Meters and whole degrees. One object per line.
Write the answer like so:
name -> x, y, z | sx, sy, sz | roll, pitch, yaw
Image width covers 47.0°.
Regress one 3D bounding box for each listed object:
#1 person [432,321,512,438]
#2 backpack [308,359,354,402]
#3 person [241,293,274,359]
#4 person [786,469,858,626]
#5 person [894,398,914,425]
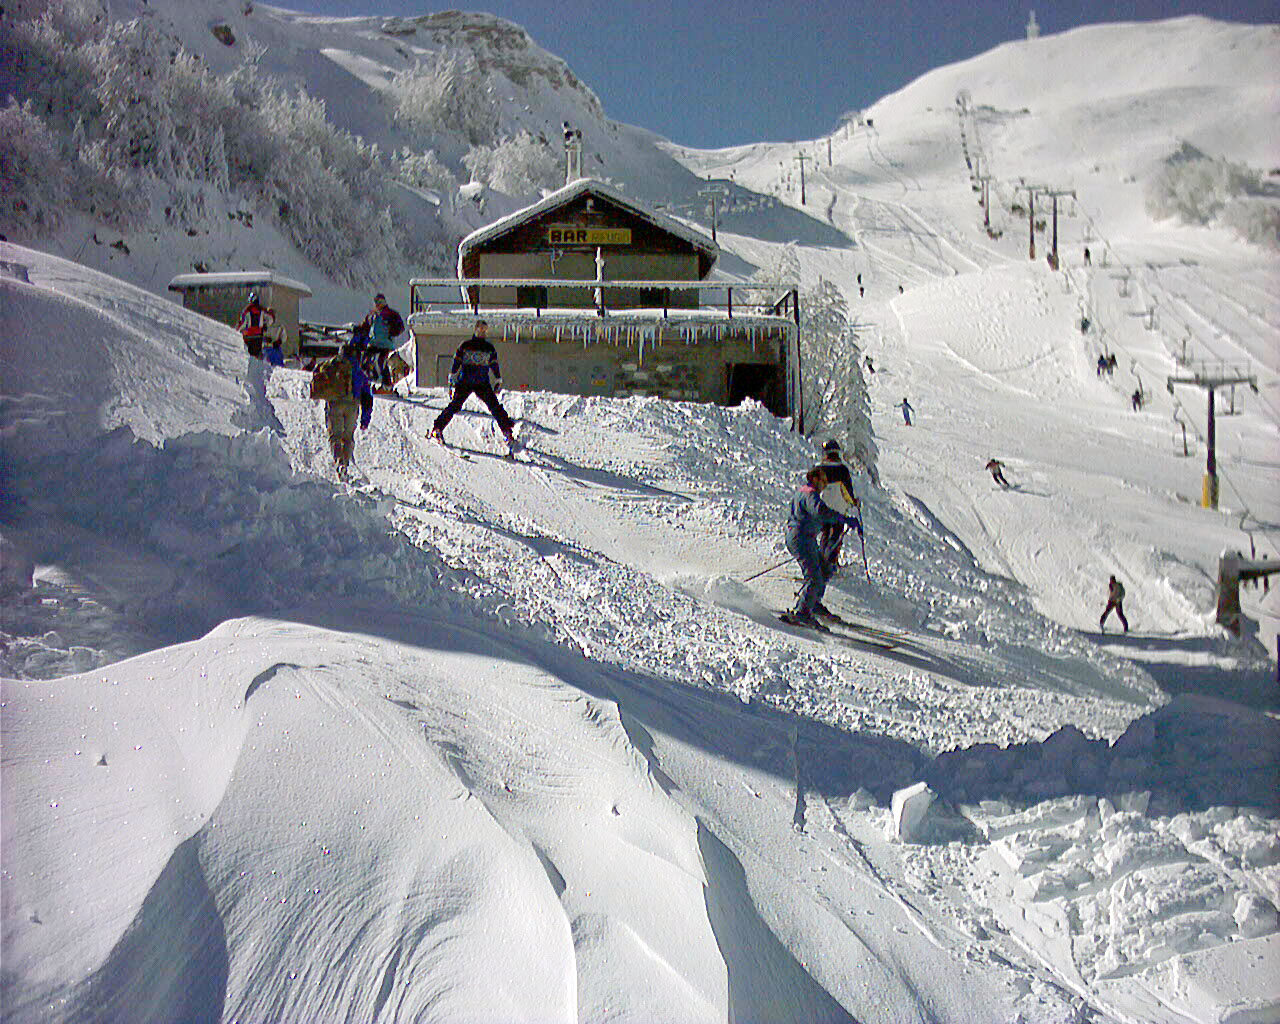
person -> -2.502, -2.134, 22.732 | 1.160, 2.274, 0.606 | 4, 40, -9
backpack -> -4.175, -1.756, 20.015 | 0.511, 0.683, 0.365 | 7, -5, -43
person -> -6.742, -3.195, 25.866 | 0.526, 1.013, 1.202 | 7, 12, -18
person -> 2.281, 0.454, 19.153 | 0.755, 2.030, 0.561 | 10, 8, 8
person -> 9.434, -3.570, 52.365 | 0.608, 1.404, 0.452 | -6, 11, 3
